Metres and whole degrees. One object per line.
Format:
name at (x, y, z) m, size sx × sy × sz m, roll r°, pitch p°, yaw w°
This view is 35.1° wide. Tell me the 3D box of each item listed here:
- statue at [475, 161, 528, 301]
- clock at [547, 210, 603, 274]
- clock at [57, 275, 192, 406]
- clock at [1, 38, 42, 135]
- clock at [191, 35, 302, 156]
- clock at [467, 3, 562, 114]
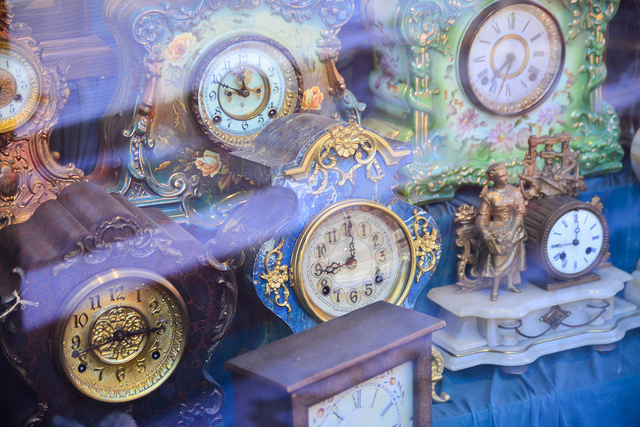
statue at (1.421, 0.159, 8.037) m, size 0.420 × 0.950 × 0.645 m, roll -7°, pitch -22°, yaw 8°
clock at (2.021, 0.208, 8.146) m, size 0.406 × 0.441 × 0.032 m, roll -14°, pitch 20°, yaw -22°
clock at (-1.347, 0.821, 6.728) m, size 0.791 × 0.865 × 0.113 m, roll -2°, pitch 10°, yaw -17°
clock at (-2.188, -0.925, 7.366) m, size 0.282 × 0.553 × 0.326 m, roll 3°, pitch -22°, yaw -17°
clock at (-0.610, -0.902, 7.743) m, size 0.837 × 0.904 × 0.142 m, roll -6°, pitch 12°, yaw -27°
clock at (1.541, -1.300, 8.225) m, size 0.740 × 0.804 × 0.085 m, roll -11°, pitch 23°, yaw -23°
